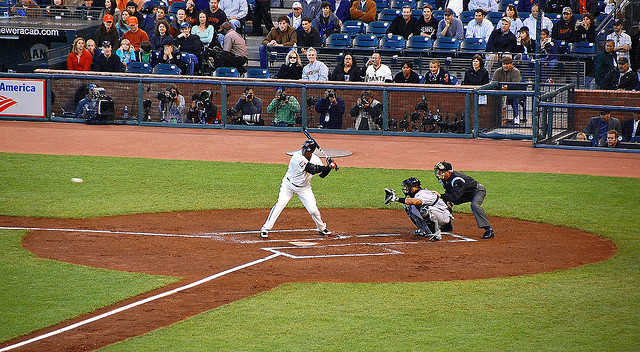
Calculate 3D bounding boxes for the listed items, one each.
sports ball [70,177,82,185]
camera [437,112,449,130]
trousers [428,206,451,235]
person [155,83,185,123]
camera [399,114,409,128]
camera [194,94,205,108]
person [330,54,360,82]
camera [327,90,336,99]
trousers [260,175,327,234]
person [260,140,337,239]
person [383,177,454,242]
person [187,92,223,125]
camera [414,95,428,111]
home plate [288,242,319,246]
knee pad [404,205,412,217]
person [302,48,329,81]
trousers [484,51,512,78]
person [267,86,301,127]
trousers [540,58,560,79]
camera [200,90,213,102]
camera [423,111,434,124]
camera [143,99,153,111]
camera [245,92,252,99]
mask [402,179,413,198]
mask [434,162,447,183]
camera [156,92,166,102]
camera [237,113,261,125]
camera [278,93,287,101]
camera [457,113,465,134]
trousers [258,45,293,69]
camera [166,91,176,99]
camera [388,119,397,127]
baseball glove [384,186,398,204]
[{"bbox_3d":[-7.673,0.161,26.036,0.283,0.083,0.250,10,19,9],"label":"sports ball"},{"bbox_3d":[4.684,-2.016,31.520,0.401,0.539,0.219,1,4,-1],"label":"camera"},{"bbox_3d":[3.203,1.178,22.266,0.588,0.717,0.419,0,2,-21],"label":"trousers"},{"bbox_3d":[-5.940,-2.822,32.648,1.131,1.477,0.695,2,4,7],"label":"person"},{"bbox_3d":[3.230,-2.076,31.727,0.349,0.493,0.225,2,4,12],"label":"camera"},{"bbox_3d":[-4.694,-2.866,32.365,0.376,0.382,0.157,5,22,-3],"label":"camera"},{"bbox_3d":[1.154,-4.141,32.539,1.502,1.105,0.771,7,21,30],"label":"person"},{"bbox_3d":[0.425,-3.072,31.447,0.299,0.324,0.112,1,50,0],"label":"camera"},{"bbox_3d":[-0.697,0.748,22.319,1.741,1.549,0.459,1,4,-3],"label":"trousers"},{"bbox_3d":[-0.530,0.356,22.207,1.866,2.623,0.554,1,4,1],"label":"person"},{"bbox_3d":[2.826,0.913,22.229,1.281,1.647,0.648,2,4,8],"label":"person"},{"bbox_3d":[-4.551,-2.596,32.574,1.343,1.198,0.705,1,4,-1],"label":"person"},{"bbox_3d":[3.869,-2.662,31.214,0.511,0.420,0.535,1,2,1],"label":"camera"},{"bbox_3d":[-0.448,1.777,21.917,0.664,0.060,0.204,1,3,-2],"label":"home plate"},{"bbox_3d":[2.400,0.928,22.457,0.150,0.275,0.195,-30,15,-22],"label":"knee pad"},{"bbox_3d":[-0.184,-4.259,32.300,0.989,1.219,0.625,1,4,-1],"label":"person"},{"bbox_3d":[6.864,-4.223,31.775,0.941,1.379,0.989,2,45,7],"label":"trousers"},{"bbox_3d":[-1.422,-2.487,32.174,1.349,1.208,0.617,2,4,16],"label":"person"},{"bbox_3d":[8.938,-4.125,32.159,0.691,0.806,0.634,2,4,12],"label":"trousers"},{"bbox_3d":[-4.415,-3.117,32.216,0.394,0.319,0.342,-4,21,-1],"label":"camera"},{"bbox_3d":[4.135,-2.174,31.454,0.376,0.442,0.217,2,4,9],"label":"camera"},{"bbox_3d":[-6.864,-2.842,32.936,0.338,0.309,0.338,0,-28,6],"label":"camera"},{"bbox_3d":[-2.764,-3.071,32.135,0.237,0.233,0.170,2,4,6],"label":"camera"},{"bbox_3d":[2.367,0.333,22.438,0.238,0.487,0.394,1,4,-3],"label":"mask"},{"bbox_3d":[3.256,-0.097,22.439,0.293,0.525,0.427,1,4,-6],"label":"mask"},{"bbox_3d":[-6.254,-3.061,32.647,0.317,0.353,0.307,1,4,-10],"label":"camera"},{"bbox_3d":[-2.835,-2.236,32.672,0.746,0.239,0.383,0,6,13],"label":"camera"},{"bbox_3d":[-1.424,-2.976,31.607,0.312,0.219,0.272,-1,9,-6],"label":"camera"},{"bbox_3d":[5.363,-1.951,31.433,0.280,0.746,0.217,2,4,5],"label":"camera"},{"bbox_3d":[-1.745,-4.850,33.938,1.616,1.071,1.001,-1,9,-4],"label":"trousers"},{"bbox_3d":[-5.827,-3.133,32.519,0.297,0.282,0.377,0,3,-15],"label":"camera"},{"bbox_3d":[2.806,-2.018,31.887,0.332,0.233,0.101,3,11,12],"label":"camera"},{"bbox_3d":[1.876,0.485,21.994,0.492,0.184,0.564,8,38,-1],"label":"baseball glove"}]
